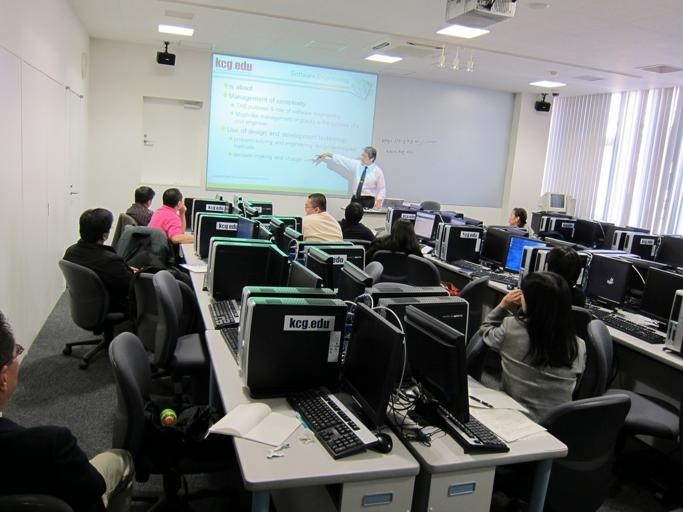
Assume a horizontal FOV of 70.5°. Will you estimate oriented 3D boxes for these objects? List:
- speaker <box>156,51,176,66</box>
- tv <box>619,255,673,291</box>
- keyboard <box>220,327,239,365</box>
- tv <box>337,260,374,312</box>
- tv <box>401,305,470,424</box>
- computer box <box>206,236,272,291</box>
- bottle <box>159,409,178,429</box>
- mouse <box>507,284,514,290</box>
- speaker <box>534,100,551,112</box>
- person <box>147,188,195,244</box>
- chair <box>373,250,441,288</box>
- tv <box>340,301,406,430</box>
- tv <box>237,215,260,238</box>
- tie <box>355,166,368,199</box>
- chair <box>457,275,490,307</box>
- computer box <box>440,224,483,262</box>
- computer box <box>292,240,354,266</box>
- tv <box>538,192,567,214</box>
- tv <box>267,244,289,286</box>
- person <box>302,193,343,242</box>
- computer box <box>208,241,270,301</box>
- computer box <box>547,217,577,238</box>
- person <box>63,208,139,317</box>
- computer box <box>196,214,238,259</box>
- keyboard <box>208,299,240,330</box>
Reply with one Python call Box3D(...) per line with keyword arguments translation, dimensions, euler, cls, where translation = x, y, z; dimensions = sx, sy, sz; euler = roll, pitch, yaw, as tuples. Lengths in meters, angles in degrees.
Box3D(translation=(-2.762, -3.071, 7.631), dimensions=(0.256, 0.274, 0.262), euler=(-3, 12, -31), cls="speaker")
Box3D(translation=(2.593, 0.129, 4.224), dimensions=(0.306, 0.323, 0.451), euler=(-4, 10, -25), cls="tv")
Box3D(translation=(-0.644, 0.500, 2.846), dimensions=(0.091, 0.036, 0.317), euler=(6, 24, -25), cls="keyboard")
Box3D(translation=(0.070, 0.184, 2.777), dimensions=(0.070, 0.215, 0.220), euler=(4, 11, -24), cls="tv")
Box3D(translation=(0.424, 0.515, 2.243), dimensions=(0.059, 0.351, 0.440), euler=(-8, 16, -16), cls="tv")
Box3D(translation=(-0.769, 0.096, 3.609), dimensions=(0.410, 0.412, 0.237), euler=(4, 13, -24), cls="computer box")
Box3D(translation=(-0.855, 0.805, 2.396), dimensions=(0.061, 0.077, 0.063), euler=(16, -20, -21), cls="bottle")
Box3D(translation=(1.639, 0.309, 4.708), dimensions=(0.042, 0.022, 0.063), euler=(10, 14, 26), cls="mouse")
Box3D(translation=(4.001, -2.954, 9.640), dimensions=(0.333, 0.253, 0.192), euler=(0, 10, -8), cls="speaker")
Box3D(translation=(-1.897, -0.426, 5.371), dimensions=(0.457, 0.571, 1.083), euler=(-2, 12, -22), cls="person")
Box3D(translation=(0.700, 0.162, 4.899), dimensions=(0.809, 0.349, 0.316), euler=(13, 15, 40), cls="chair")
Box3D(translation=(0.142, 0.531, 2.251), dimensions=(0.125, 0.410, 0.396), euler=(15, 17, -27), cls="tv")
Box3D(translation=(-0.847, -0.233, 4.376), dimensions=(0.119, 0.196, 0.560), euler=(-2, 13, -24), cls="tv")
Box3D(translation=(0.365, -1.358, 8.866), dimensions=(0.234, 0.538, 0.149), euler=(6, 11, 16), cls="tie")
Box3D(translation=(1.145, 0.302, 4.157), dimensions=(0.267, 0.334, 0.294), euler=(2, 6, 11), cls="chair")
Box3D(translation=(1.425, -0.139, 5.901), dimensions=(0.408, 0.446, 0.430), euler=(2, 9, -9), cls="computer box")
Box3D(translation=(-0.155, -0.054, 3.584), dimensions=(0.309, 0.232, 0.177), euler=(1, 14, -2), cls="computer box")
Box3D(translation=(3.874, -0.941, 8.767), dimensions=(0.485, 0.331, 0.591), euler=(6, 12, 13), cls="tv")
Box3D(translation=(-0.449, 0.081, 3.397), dimensions=(0.034, 0.195, 0.261), euler=(-1, 12, -19), cls="tv")
Box3D(translation=(-0.204, -0.381, 5.020), dimensions=(0.389, 0.439, 0.732), euler=(-2, 12, -22), cls="person")
Box3D(translation=(-0.778, 0.096, 3.605), dimensions=(0.391, 0.407, 0.227), euler=(5, 15, -25), cls="computer box")
Box3D(translation=(3.236, -0.393, 7.134), dimensions=(0.446, 0.300, 0.201), euler=(-2, 12, -24), cls="computer box")
Box3D(translation=(-2.032, 0.012, 4.045), dimensions=(0.538, 0.836, 0.459), euler=(11, 28, -8), cls="person")
Box3D(translation=(-1.206, -0.249, 4.858), dimensions=(0.451, 0.469, 0.362), euler=(3, 26, -20), cls="computer box")
Box3D(translation=(-0.772, 0.389, 3.218), dimensions=(0.121, 0.060, 0.252), euler=(-5, 22, -17), cls="keyboard")
